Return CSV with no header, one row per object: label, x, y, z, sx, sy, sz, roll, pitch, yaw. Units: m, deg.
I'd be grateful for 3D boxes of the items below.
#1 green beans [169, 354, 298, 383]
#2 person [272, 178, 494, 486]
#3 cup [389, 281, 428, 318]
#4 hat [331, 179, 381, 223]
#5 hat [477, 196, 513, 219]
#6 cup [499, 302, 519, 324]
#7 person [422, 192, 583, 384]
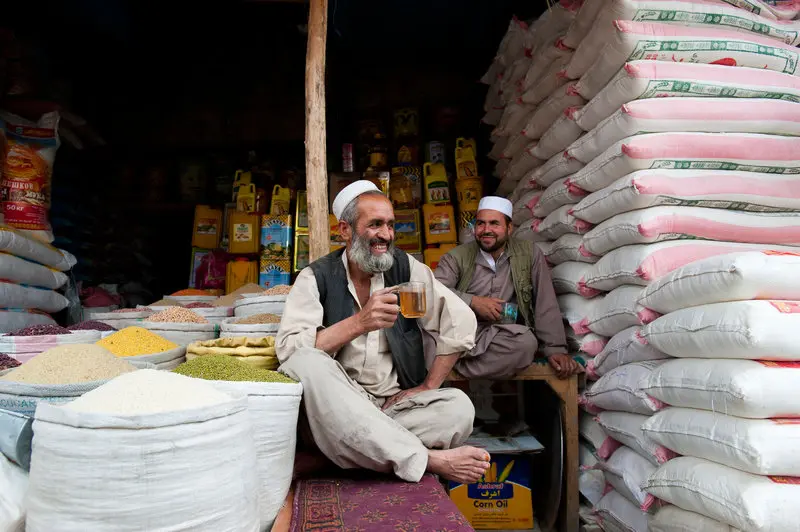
green beans,-0.734,0.449,2.276,0.505,0.129,0.251,0,-7,-16
person,-0.102,0.264,2.718,1.062,1.555,0.783,0,-7,-20
cup,0.048,0.153,2.428,0.128,0.155,0.098,-4,-6,11
hat,-0.285,-0.376,2.999,0.253,0.250,0.113,-13,24,-17
hat,0.743,-0.469,4.036,0.229,0.122,0.207,4,0,0
cup,0.775,0.316,3.593,0.159,0.137,0.072,3,-8,-38
person,0.712,0.142,3.883,1.405,1.187,0.965,2,19,24
